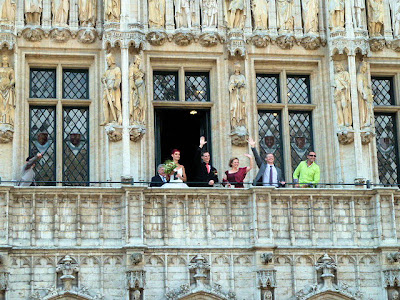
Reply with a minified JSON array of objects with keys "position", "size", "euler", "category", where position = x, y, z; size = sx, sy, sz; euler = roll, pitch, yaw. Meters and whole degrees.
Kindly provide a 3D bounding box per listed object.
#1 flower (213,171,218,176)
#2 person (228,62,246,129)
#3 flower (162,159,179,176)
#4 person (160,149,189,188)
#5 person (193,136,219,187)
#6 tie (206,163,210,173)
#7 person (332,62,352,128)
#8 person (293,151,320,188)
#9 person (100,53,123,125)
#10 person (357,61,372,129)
[{"position":[0.542,0.835,35.664],"size":[0.136,0.104,0.183],"euler":[3,-62,1],"category":"flower"},{"position":[1.394,-1.838,37.577],"size":[0.679,2.383,0.687],"euler":[-1,0,-8],"category":"person"},{"position":[-0.966,0.550,34.789],"size":[0.469,0.492,0.372],"euler":[2,-23,-11],"category":"flower"},{"position":[-0.905,0.694,36.615],"size":[0.875,1.237,0.787],"euler":[7,-28,-15],"category":"person"},{"position":[0.197,0.389,35.421],"size":[0.754,1.893,0.679],"euler":[-1,-4,-30],"category":"person"},{"position":[0.310,0.635,35.508],"size":[0.072,0.235,0.168],"euler":[0,-2,18],"category":"tie"},{"position":[5.192,-1.918,37.803],"size":[0.596,2.293,0.468],"euler":[-5,-22,6],"category":"person"},{"position":[3.719,0.804,36.222],"size":[0.831,1.473,0.747],"euler":[0,-7,-24],"category":"person"},{"position":[-3.138,-2.087,36.754],"size":[0.847,2.527,0.619],"euler":[-7,-9,43],"category":"person"},{"position":[5.984,-1.957,37.987],"size":[0.492,2.520,0.626],"euler":[-8,-23,14],"category":"person"}]
